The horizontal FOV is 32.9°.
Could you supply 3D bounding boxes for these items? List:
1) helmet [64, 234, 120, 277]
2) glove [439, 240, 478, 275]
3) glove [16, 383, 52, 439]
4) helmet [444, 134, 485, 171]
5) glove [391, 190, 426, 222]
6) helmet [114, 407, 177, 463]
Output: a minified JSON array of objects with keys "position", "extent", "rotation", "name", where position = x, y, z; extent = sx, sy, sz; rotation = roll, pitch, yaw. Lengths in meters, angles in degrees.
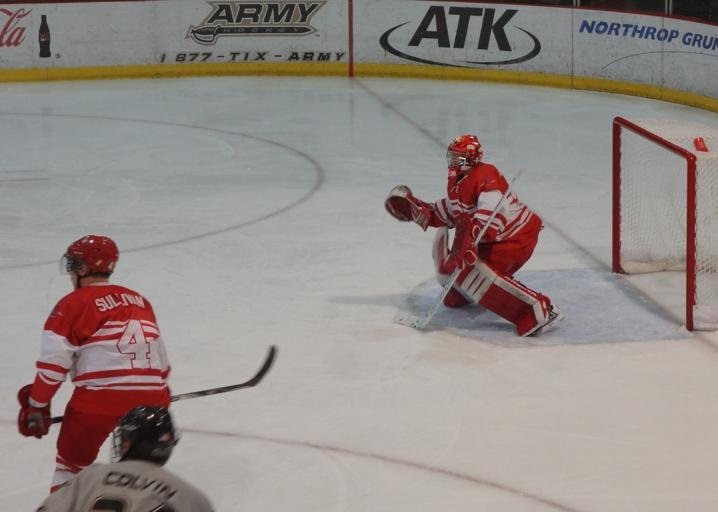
[{"position":[-1.943,-0.015,8.745],"extent":[0.456,0.243,0.308],"rotation":[-4,13,-31],"name":"helmet"},{"position":[0.840,0.026,10.258],"extent":[0.317,0.348,0.361],"rotation":[2,17,4],"name":"glove"},{"position":[-2.262,1.074,8.497],"extent":[0.330,0.337,0.155],"rotation":[3,-18,-15],"name":"glove"},{"position":[0.872,-0.888,10.358],"extent":[0.375,0.259,0.297],"rotation":[-12,25,-34],"name":"helmet"},{"position":[0.401,-0.441,10.623],"extent":[0.358,0.221,0.125],"rotation":[27,32,-1],"name":"glove"},{"position":[-1.357,1.207,8.174],"extent":[0.530,0.395,0.391],"rotation":[-4,-13,25],"name":"helmet"}]
